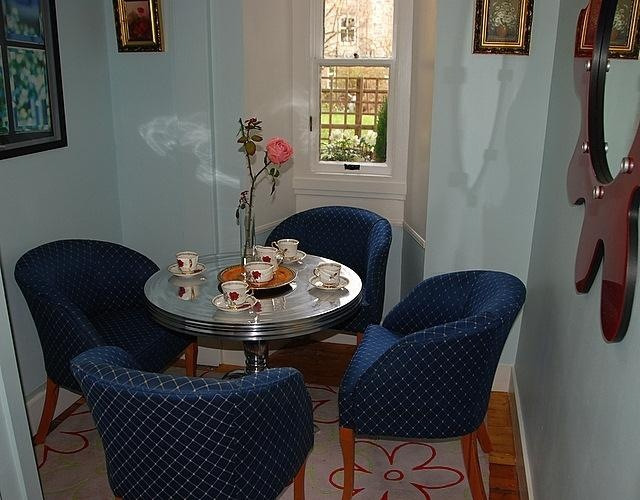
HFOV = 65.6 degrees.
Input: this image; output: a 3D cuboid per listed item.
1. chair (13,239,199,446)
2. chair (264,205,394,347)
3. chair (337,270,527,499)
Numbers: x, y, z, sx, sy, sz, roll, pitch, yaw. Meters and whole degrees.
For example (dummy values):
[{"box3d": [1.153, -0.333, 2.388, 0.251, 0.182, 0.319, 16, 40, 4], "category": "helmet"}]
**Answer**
[{"box3d": [-1.210, 0.322, 2.930, 0.941, 1.192, 0.967, 6, 18, 18], "category": "chair"}, {"box3d": [0.066, 0.149, 3.298, 0.784, 0.894, 0.763, 5, 5, 8], "category": "chair"}, {"box3d": [0.447, 0.480, 2.586, 0.941, 1.202, 1.088, 2, 16, 9], "category": "chair"}]
